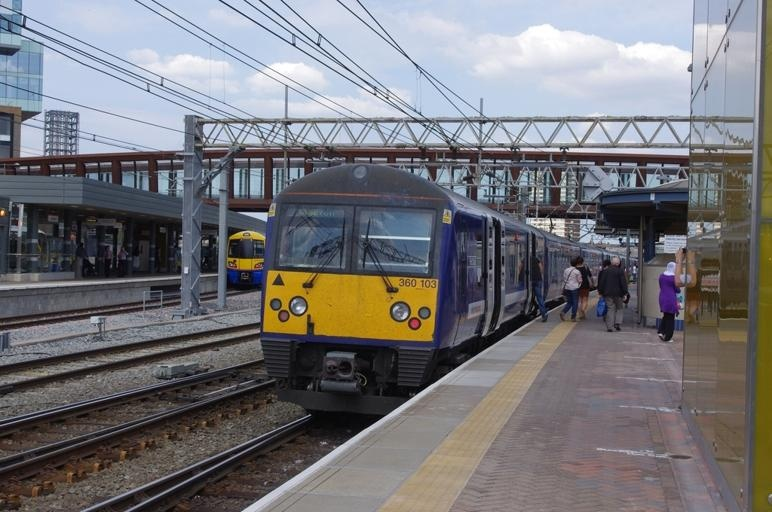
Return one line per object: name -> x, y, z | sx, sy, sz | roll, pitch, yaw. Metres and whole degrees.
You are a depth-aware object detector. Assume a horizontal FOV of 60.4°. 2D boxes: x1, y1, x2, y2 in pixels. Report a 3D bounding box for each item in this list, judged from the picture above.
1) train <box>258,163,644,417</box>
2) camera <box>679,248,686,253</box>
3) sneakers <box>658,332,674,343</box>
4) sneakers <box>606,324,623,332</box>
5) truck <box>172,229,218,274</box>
train -> 0.979, 0.422, 13.202 | 2.591, 3.964, 7.397 | 0, 1, 27
camera -> 3.817, -0.072, 8.439 | 0.084, 0.059, 0.083 | 3, 4, 22
sneakers -> 7.074, 2.043, 16.623 | 0.158, 0.187, 0.480 | 5, 3, 35
sneakers -> 6.313, 1.973, 18.224 | 0.172, 0.216, 0.530 | 6, 6, 37
truck -> -11.595, -0.269, 39.909 | 0.522, 2.044, 3.637 | 1, -2, 3
